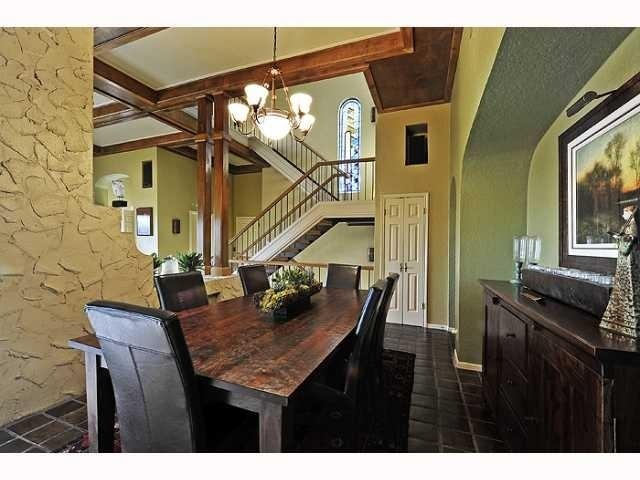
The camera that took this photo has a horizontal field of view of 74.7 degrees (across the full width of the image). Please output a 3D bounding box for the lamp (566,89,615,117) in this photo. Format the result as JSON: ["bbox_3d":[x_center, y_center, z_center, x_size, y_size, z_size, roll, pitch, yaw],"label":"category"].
[{"bbox_3d":[1.811,-0.933,2.834,0.246,0.167,0.499,3,10,14],"label":"lamp"}]
